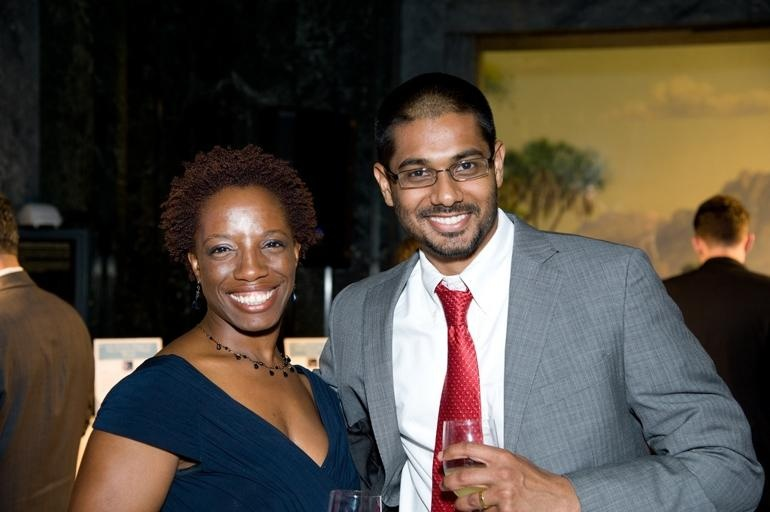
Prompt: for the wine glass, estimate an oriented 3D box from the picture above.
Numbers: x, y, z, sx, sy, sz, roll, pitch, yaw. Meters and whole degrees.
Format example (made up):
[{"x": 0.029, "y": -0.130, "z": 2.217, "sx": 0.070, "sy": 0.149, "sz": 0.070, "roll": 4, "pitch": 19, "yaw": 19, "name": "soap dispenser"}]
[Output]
[{"x": 0.400, "y": 0.892, "z": 3.500, "sx": 0.190, "sy": 0.408, "sz": 0.413, "roll": 5, "pitch": 6, "yaw": 26, "name": "wine glass"}]
